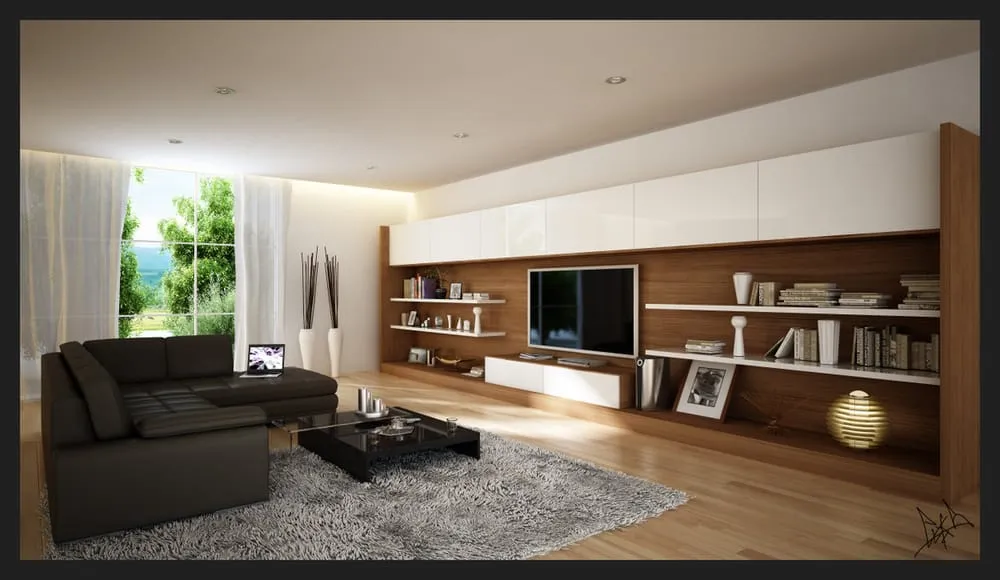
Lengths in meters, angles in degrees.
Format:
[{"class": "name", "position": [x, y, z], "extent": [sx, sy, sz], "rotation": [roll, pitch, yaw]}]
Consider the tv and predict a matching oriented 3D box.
[{"class": "tv", "position": [0.982, 0.243, 7.005], "extent": [0.085, 1.051, 1.976], "rotation": [-1, 0, -33]}]

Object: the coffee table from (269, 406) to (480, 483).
[{"class": "coffee table", "position": [-0.936, 1.317, 5.348], "extent": [1.146, 0.181, 0.850], "rotation": [11, 4, 25]}]

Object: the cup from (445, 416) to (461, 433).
[{"class": "cup", "position": [-0.415, 1.233, 5.228], "extent": [0.133, 0.103, 0.131], "rotation": [0, -5, 0]}]

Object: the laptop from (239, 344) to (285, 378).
[{"class": "laptop", "position": [-2.679, 0.810, 6.512], "extent": [0.589, 0.319, 0.341], "rotation": [2, -3, -11]}]

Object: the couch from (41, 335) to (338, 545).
[{"class": "couch", "position": [-2.336, 1.105, 4.490], "extent": [1.802, 0.566, 1.877], "rotation": [-1, 2, -39]}]
